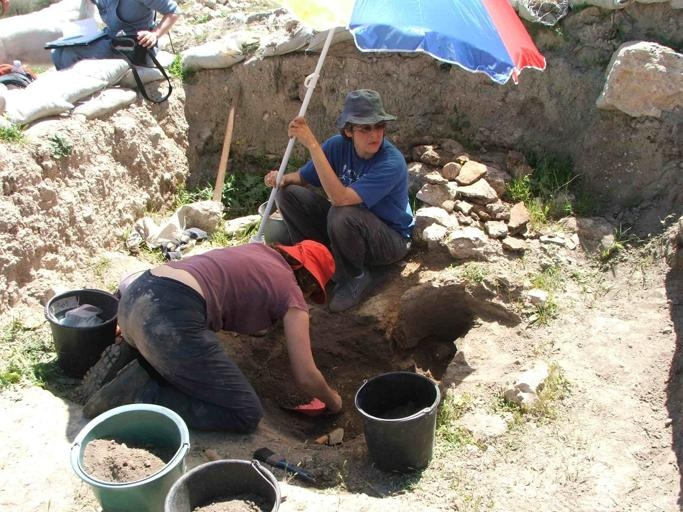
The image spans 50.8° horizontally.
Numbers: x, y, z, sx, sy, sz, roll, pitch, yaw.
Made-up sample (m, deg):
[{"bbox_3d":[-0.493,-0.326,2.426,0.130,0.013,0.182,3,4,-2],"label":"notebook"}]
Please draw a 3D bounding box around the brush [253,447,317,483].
[{"bbox_3d":[-0.319,1.255,4.306,0.427,0.051,0.115,17,31,20],"label":"brush"}]

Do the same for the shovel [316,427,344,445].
[{"bbox_3d":[-0.058,1.211,4.812,0.108,0.035,0.109,0,8,30],"label":"shovel"}]

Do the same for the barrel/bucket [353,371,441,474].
[{"bbox_3d":[0.373,1.003,4.495,0.528,0.582,0.906,3,19,11],"label":"barrel/bucket"}]

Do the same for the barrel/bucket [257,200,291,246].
[{"bbox_3d":[-0.539,-0.273,5.822,0.286,0.240,0.315,1,21,1],"label":"barrel/bucket"}]

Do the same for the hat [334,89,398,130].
[{"bbox_3d":[0.158,-1.062,5.310,0.472,0.281,0.544,2,11,29],"label":"hat"}]

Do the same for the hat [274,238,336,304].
[{"bbox_3d":[-0.239,0.075,4.786,0.346,0.401,0.343,-12,26,-27],"label":"hat"}]

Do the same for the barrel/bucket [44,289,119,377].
[{"bbox_3d":[-1.714,0.467,4.941,0.505,0.478,0.563,12,29,0],"label":"barrel/bucket"}]

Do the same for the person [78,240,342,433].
[{"bbox_3d":[-0.751,0.477,4.554,1.366,0.855,1.009,-5,21,-28],"label":"person"}]
